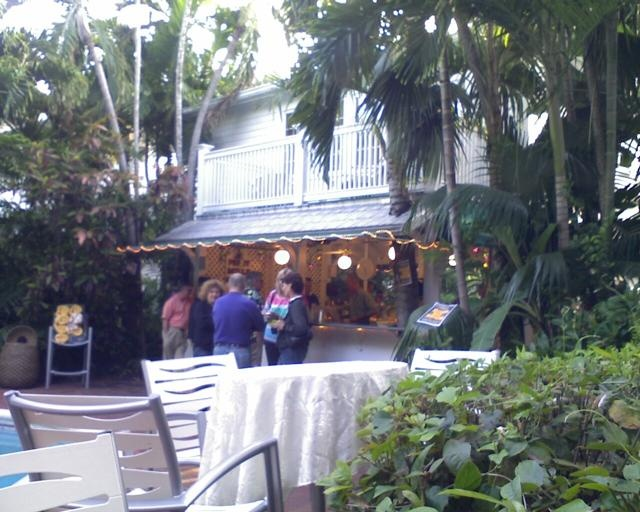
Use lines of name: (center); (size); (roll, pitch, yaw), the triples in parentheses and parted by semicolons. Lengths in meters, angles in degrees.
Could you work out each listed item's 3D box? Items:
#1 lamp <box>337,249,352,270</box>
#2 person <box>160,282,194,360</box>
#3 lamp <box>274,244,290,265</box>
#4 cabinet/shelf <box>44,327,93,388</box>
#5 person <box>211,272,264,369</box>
lamp: (0.445, 0.069, 12.334); (0.279, 0.451, 0.287); (5, 4, 38)
person: (-2.245, 1.169, 10.837); (0.556, 1.618, 0.403); (-1, 22, -24)
lamp: (-0.637, -0.008, 11.875); (0.274, 0.368, 0.272); (-2, 4, -44)
cabinet/shelf: (-4.306, 1.724, 11.518); (0.656, 1.160, 0.754); (2, -18, -14)
person: (-0.934, 0.883, 7.541); (0.481, 1.665, 0.478); (5, 29, 1)
